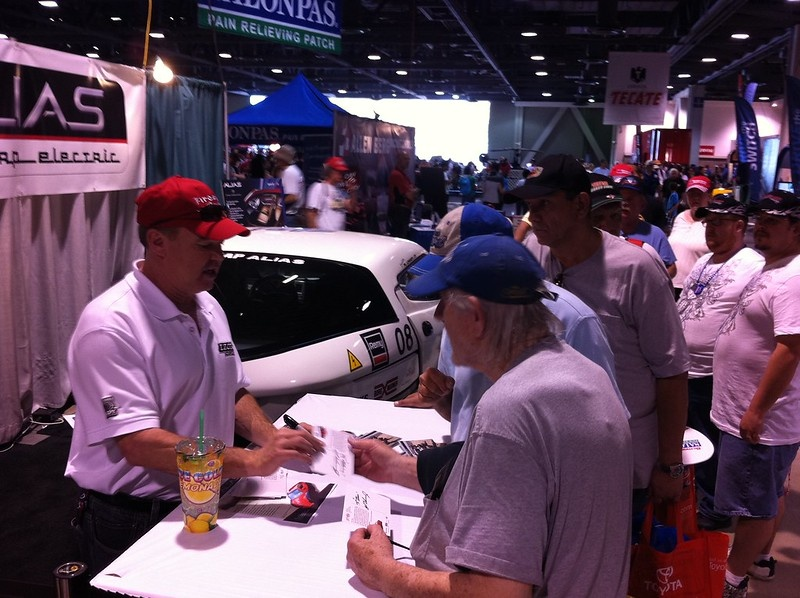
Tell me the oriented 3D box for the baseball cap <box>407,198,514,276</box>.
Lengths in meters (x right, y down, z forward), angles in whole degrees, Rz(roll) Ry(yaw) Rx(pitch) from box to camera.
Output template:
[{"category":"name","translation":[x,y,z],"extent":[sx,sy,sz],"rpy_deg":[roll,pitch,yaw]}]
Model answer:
[{"category":"baseball cap","translation":[0.303,-0.333,3.116],"extent":[0.641,0.335,0.420],"rpy_deg":[-11,7,4]}]

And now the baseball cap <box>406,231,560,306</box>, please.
[{"category":"baseball cap","translation":[0.214,-0.092,1.741],"extent":[0.450,0.219,0.298],"rpy_deg":[-2,12,11]}]

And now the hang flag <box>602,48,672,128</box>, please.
[{"category":"hang flag","translation":[5.853,-5.278,14.531],"extent":[1.571,1.815,0.670],"rpy_deg":[-1,9,-9]}]

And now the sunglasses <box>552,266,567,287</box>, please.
[{"category":"sunglasses","translation":[0.748,-0.102,2.760],"extent":[0.026,0.085,0.052],"rpy_deg":[10,6,-45]}]

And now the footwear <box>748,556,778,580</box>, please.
[{"category":"footwear","translation":[2.331,1.755,3.768],"extent":[0.089,0.090,0.213],"rpy_deg":[-8,1,19]}]

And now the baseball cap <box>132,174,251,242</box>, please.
[{"category":"baseball cap","translation":[-0.829,-0.375,2.380],"extent":[0.442,0.238,0.290],"rpy_deg":[8,13,13]}]

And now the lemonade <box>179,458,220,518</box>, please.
[{"category":"lemonade","translation":[-0.692,0.664,2.041],"extent":[0.135,0.268,0.102],"rpy_deg":[-3,10,-22]}]

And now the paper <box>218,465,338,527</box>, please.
[{"category":"paper","translation":[-0.405,0.813,2.465],"extent":[0.517,0.108,0.494],"rpy_deg":[-7,-2,37]}]

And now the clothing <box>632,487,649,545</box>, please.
[{"category":"clothing","translation":[1.060,0.974,2.604],"extent":[0.062,0.178,0.317],"rpy_deg":[4,10,22]}]

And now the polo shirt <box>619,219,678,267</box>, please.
[{"category":"polo shirt","translation":[2.271,-0.473,5.561],"extent":[0.601,0.558,0.318],"rpy_deg":[2,31,25]}]

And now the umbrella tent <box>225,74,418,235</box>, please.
[{"category":"umbrella tent","translation":[-2.260,-3.163,12.839],"extent":[4.324,3.307,4.295],"rpy_deg":[2,13,31]}]

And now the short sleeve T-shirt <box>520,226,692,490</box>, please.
[{"category":"short sleeve T-shirt","translation":[1.036,0.251,2.919],"extent":[0.479,1.086,0.944],"rpy_deg":[-14,9,-34]}]

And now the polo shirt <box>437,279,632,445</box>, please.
[{"category":"polo shirt","translation":[0.405,0.184,1.769],"extent":[0.596,0.582,0.328],"rpy_deg":[12,51,29]}]

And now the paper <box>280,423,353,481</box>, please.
[{"category":"paper","translation":[-0.310,0.648,2.371],"extent":[0.189,0.048,0.196],"rpy_deg":[18,31,-17]}]

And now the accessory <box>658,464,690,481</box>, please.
[{"category":"accessory","translation":[1.210,0.750,2.583],"extent":[0.094,0.062,0.103],"rpy_deg":[-10,-11,35]}]
